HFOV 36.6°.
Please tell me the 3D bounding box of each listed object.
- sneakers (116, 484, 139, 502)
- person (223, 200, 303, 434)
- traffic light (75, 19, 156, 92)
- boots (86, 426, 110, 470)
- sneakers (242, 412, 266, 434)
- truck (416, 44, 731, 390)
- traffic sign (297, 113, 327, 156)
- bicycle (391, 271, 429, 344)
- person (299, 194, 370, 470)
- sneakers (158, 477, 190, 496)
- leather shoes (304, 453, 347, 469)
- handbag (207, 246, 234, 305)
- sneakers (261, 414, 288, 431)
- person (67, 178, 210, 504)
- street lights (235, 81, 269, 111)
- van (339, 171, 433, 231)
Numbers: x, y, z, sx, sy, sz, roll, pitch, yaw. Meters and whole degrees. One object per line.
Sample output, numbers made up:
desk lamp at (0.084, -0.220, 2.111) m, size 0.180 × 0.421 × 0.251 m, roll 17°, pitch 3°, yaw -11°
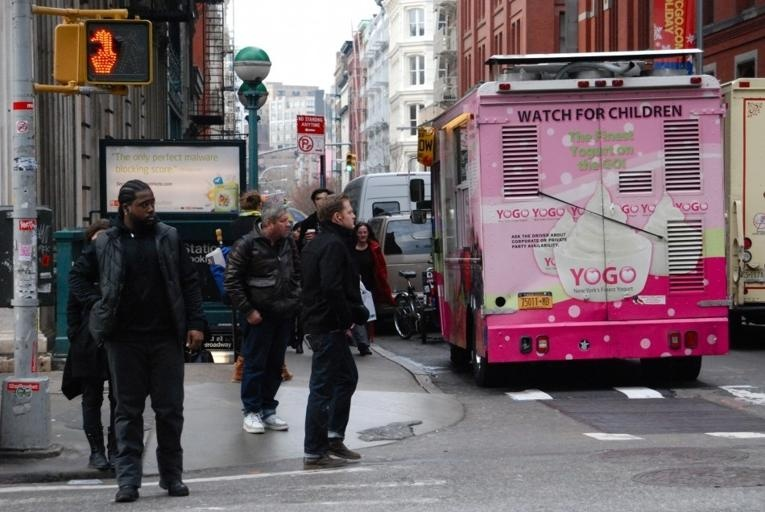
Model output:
sneakers at (-2.471, 2.262, 11.097) m, size 0.217 × 0.149 × 0.136 m, roll -3°, pitch 4°, yaw -12°
person at (-1.369, 0.726, 13.548) m, size 0.904 × 2.602 × 0.423 m, roll -5°, pitch 5°, yaw -33°
traffic light at (-3.046, -2.241, 12.971) m, size 0.901 × 0.827 × 0.449 m, roll -1°, pitch -1°, yaw -25°
boots at (-2.951, 2.007, 12.039) m, size 0.205 × 0.388 × 0.407 m, roll 8°, pitch 6°, yaw -29°
sneakers at (-1.500, 1.933, 13.438) m, size 0.138 × 0.155 × 0.344 m, roll 2°, pitch -6°, yaw -30°
truck at (2.833, -0.544, 17.237) m, size 4.166 × 4.445 × 6.157 m, roll -2°, pitch 4°, yaw -4°
traffic sign at (-1.430, -2.358, 22.610) m, size 0.474 × 0.786 × 1.298 m, roll -1°, pitch 4°, yaw 15°
bicycle at (0.515, 1.069, 21.541) m, size 0.703 × 0.751 × 1.242 m, roll 0°, pitch 0°, yaw -2°
person at (-0.582, 0.768, 12.262) m, size 0.818 × 2.792 × 0.665 m, roll -4°, pitch 5°, yaw -21°
sneakers at (-2.060, 2.246, 11.281) m, size 0.350 × 0.142 × 0.128 m, roll -5°, pitch -5°, yaw 43°
leather shoes at (-0.617, 2.133, 12.109) m, size 0.477 × 0.190 × 0.161 m, roll -1°, pitch 3°, yaw -21°
handbag at (-2.334, 0.225, 16.252) m, size 0.305 × 0.805 × 0.631 m, roll -9°, pitch 10°, yaw -18°
sneakers at (-1.264, 1.960, 13.583) m, size 0.337 × 0.127 × 0.126 m, roll -1°, pitch -2°, yaw 37°
person at (-2.349, 0.791, 11.303) m, size 1.189 × 3.036 × 0.688 m, roll -3°, pitch 4°, yaw -11°
street lights at (-2.558, -3.119, 22.643) m, size 0.753 × 0.684 × 0.734 m, roll 0°, pitch 0°, yaw -10°
van at (-0.016, -1.300, 27.476) m, size 1.259 × 1.020 × 1.925 m, roll -2°, pitch 5°, yaw -11°
